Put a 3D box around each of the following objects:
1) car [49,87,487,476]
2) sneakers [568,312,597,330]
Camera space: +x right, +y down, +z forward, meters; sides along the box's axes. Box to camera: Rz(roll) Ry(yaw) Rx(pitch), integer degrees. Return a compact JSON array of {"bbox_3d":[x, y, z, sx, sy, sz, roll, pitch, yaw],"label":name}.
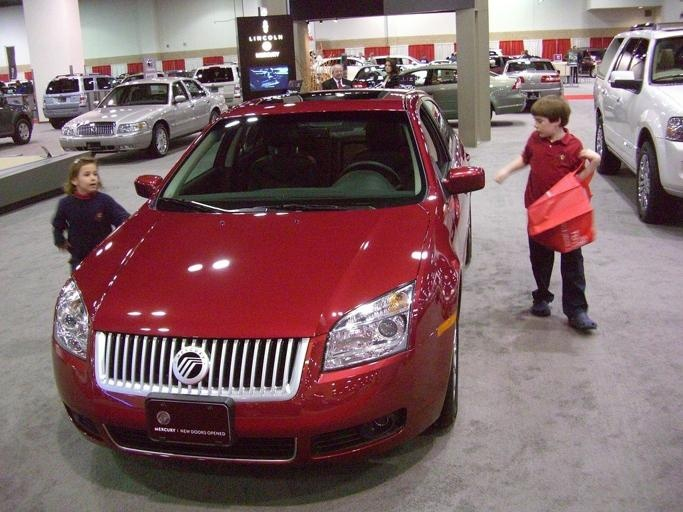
[{"bbox_3d":[-0.067,-0.032,3.088,1.745,1.214,2.987,1,18,12],"label":"car"},{"bbox_3d":[1.800,0.496,3.494,0.105,0.105,0.223,0,11,3],"label":"sneakers"}]
